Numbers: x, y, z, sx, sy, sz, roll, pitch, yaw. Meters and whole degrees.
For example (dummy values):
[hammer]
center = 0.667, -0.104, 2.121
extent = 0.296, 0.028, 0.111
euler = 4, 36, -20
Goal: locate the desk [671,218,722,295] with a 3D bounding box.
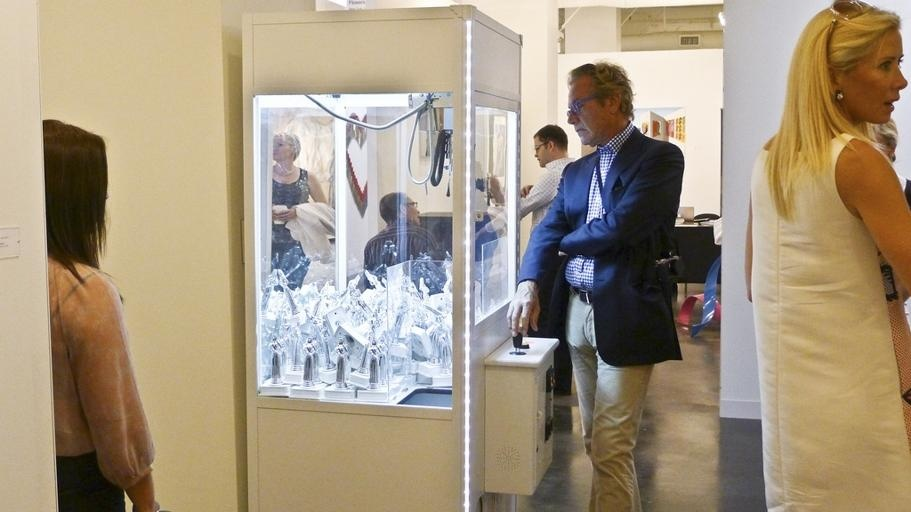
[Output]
[desk]
center = 2.763, -0.016, 8.971
extent = 0.581, 0.951, 1.054
euler = 0, 5, 22
